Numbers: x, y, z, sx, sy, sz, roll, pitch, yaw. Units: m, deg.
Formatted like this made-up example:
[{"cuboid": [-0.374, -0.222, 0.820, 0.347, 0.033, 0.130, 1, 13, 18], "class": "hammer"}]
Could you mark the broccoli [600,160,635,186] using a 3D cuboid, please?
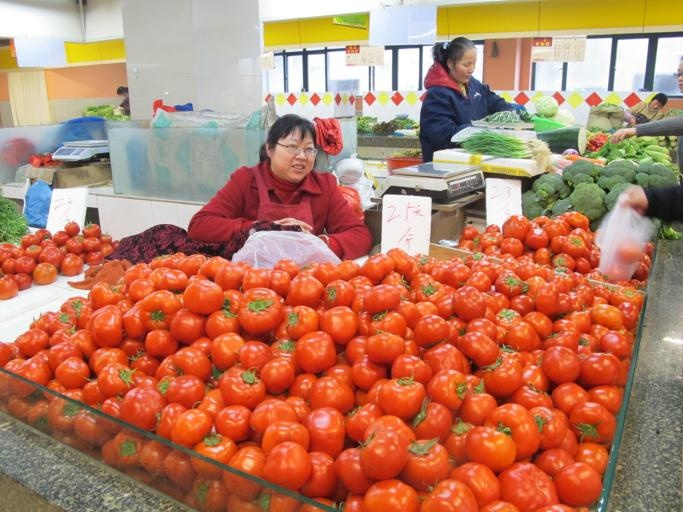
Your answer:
[{"cuboid": [1.480, -0.429, 2.549, 0.172, 0.047, 0.150, -5, 31, 32], "class": "broccoli"}]

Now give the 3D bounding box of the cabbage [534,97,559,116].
[{"cuboid": [2.546, -1.826, 5.871, 0.280, 0.288, 0.334, -5, 16, 11], "class": "cabbage"}]

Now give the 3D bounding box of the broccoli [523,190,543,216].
[{"cuboid": [1.136, -0.313, 2.810, 0.100, 0.137, 0.054, -8, -13, 11], "class": "broccoli"}]

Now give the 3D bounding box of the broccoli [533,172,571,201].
[{"cuboid": [1.239, -0.412, 2.764, 0.131, 0.076, 0.177, 15, 31, 37], "class": "broccoli"}]

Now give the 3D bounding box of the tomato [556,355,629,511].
[{"cuboid": [0.583, 0.379, 1.135, 0.153, 0.171, 0.456, 10, 20, 33], "class": "tomato"}]

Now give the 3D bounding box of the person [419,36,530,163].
[{"cuboid": [1.156, -1.498, 4.432, 0.914, 1.370, 0.842, 8, 18, 13], "class": "person"}]

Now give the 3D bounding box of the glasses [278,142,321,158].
[{"cuboid": [-0.266, -0.683, 3.016, 0.260, 0.093, 0.124, -14, 21, -37], "class": "glasses"}]

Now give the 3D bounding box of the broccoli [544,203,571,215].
[{"cuboid": [1.221, -0.261, 2.631, 0.068, 0.026, 0.052, -28, 0, -7], "class": "broccoli"}]

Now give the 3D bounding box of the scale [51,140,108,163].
[{"cuboid": [-2.906, -1.177, 5.274, 0.435, 0.228, 0.512, 4, 17, 16], "class": "scale"}]

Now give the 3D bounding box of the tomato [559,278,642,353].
[{"cuboid": [0.836, 0.152, 1.608, 0.279, 0.207, 0.307, 9, 19, 25], "class": "tomato"}]

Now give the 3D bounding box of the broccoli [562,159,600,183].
[{"cuboid": [1.353, -0.481, 2.660, 0.136, 0.082, 0.161, -9, 22, 33], "class": "broccoli"}]

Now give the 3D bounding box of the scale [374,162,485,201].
[{"cuboid": [0.563, -0.457, 2.847, 0.442, 0.170, 0.533, 12, 21, 37], "class": "scale"}]

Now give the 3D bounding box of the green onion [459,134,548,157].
[{"cuboid": [1.044, -0.746, 3.152, 0.371, 0.113, 0.278, 12, 23, 34], "class": "green onion"}]

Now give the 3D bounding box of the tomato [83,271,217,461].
[{"cuboid": [-0.474, 0.282, 1.307, 0.311, 0.445, 0.362, 14, 24, 39], "class": "tomato"}]
